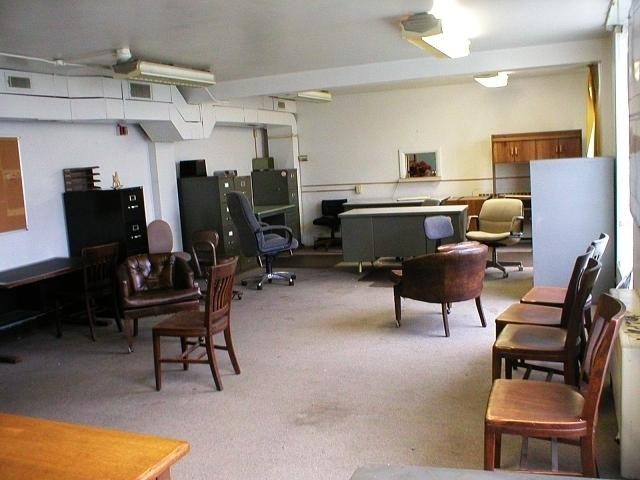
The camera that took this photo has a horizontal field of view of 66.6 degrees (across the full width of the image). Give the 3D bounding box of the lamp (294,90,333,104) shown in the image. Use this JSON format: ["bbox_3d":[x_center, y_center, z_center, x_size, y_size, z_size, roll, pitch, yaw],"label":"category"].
[{"bbox_3d":[-0.118,-2.935,9.806,0.515,0.179,1.356,-2,11,10],"label":"lamp"}]

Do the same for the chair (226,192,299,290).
[{"bbox_3d":[-0.949,-0.111,8.200,0.945,1.604,2.010,-5,11,-4],"label":"chair"}]

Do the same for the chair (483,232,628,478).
[{"bbox_3d":[1.756,0.796,3.566,0.492,0.798,1.477,2,7,20],"label":"chair"}]

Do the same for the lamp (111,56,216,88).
[{"bbox_3d":[-1.990,-2.182,6.299,0.405,0.252,1.337,3,13,31],"label":"lamp"}]

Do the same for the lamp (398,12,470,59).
[{"bbox_3d":[1.314,-2.260,5.433,0.349,0.280,1.197,1,-2,29],"label":"lamp"}]

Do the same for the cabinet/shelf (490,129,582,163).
[{"bbox_3d":[4.202,-1.820,9.484,1.631,0.568,0.298,0,12,20],"label":"cabinet/shelf"}]
